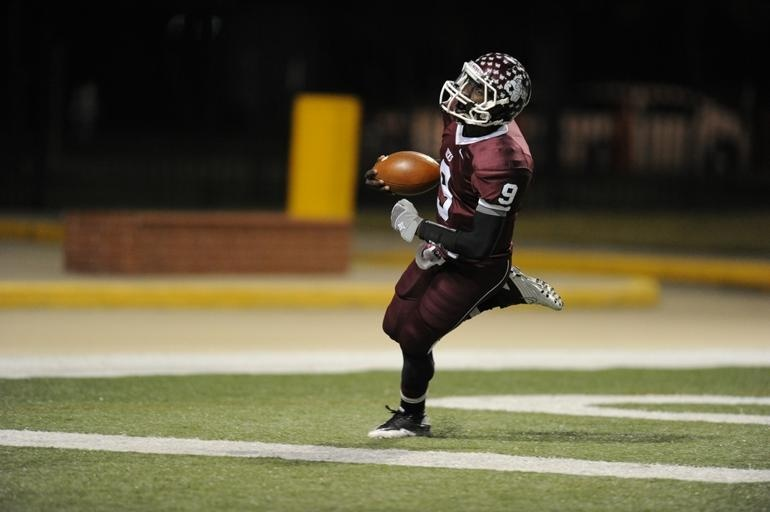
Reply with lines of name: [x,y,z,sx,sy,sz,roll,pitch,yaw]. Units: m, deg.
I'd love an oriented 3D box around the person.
person: [0.631,-0.038,8.577,1.291,3.082,0.573,1,9,5]

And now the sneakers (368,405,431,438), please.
sneakers: [0.119,1.373,8.908,0.546,0.198,0.218,-4,5,-26]

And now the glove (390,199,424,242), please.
glove: [0.208,-0.258,8.584,0.147,0.247,0.353,47,6,-46]

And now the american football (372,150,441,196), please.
american football: [0.221,-0.685,8.862,0.599,0.301,0.360,3,32,23]
